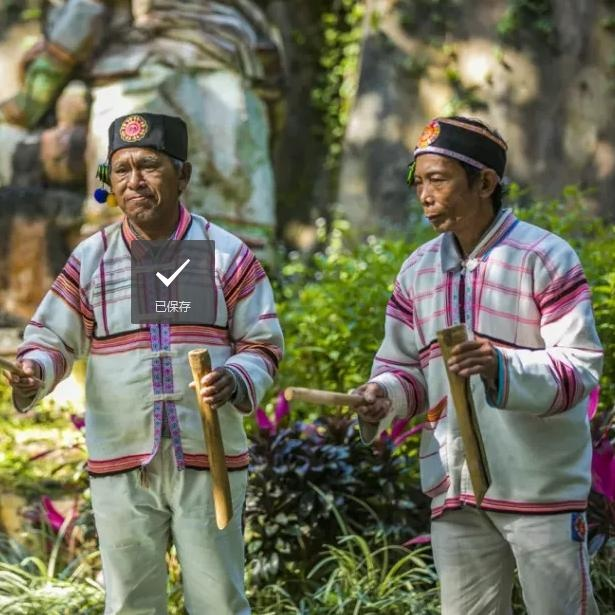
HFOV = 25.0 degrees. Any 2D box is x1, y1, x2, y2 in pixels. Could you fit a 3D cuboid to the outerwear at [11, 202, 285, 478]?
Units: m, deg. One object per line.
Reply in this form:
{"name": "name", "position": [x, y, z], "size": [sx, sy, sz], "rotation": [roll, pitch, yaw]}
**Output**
{"name": "outerwear", "position": [-0.750, 0.172, 6.631], "size": [1.788, 1.219, 0.919], "rotation": [-4, 5, 34]}

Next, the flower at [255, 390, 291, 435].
{"name": "flower", "position": [-0.197, 0.603, 7.876], "size": [0.254, 0.308, 0.089], "rotation": [7, -34, 4]}
